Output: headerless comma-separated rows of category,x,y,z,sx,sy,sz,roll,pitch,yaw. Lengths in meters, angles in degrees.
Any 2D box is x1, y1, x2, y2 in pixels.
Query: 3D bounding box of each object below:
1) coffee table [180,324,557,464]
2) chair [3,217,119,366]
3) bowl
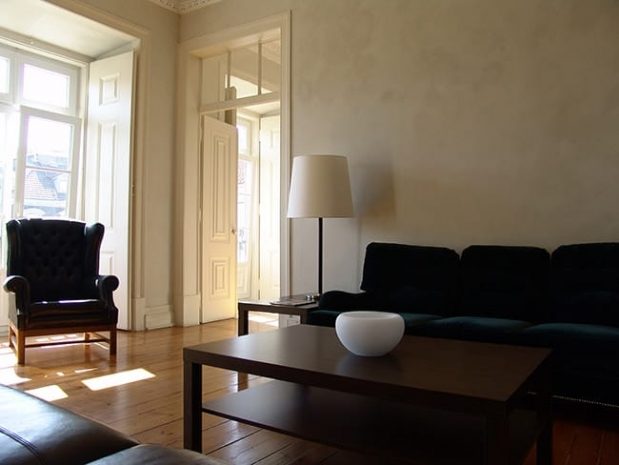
coffee table,0.255,0.724,2.031,1.418,0.435,0.757,1,1,26
chair,-2.100,0.513,3.890,0.987,1.367,0.851,3,-13,-40
bowl,0.271,0.456,2.096,0.333,0.175,0.329,0,-3,0
